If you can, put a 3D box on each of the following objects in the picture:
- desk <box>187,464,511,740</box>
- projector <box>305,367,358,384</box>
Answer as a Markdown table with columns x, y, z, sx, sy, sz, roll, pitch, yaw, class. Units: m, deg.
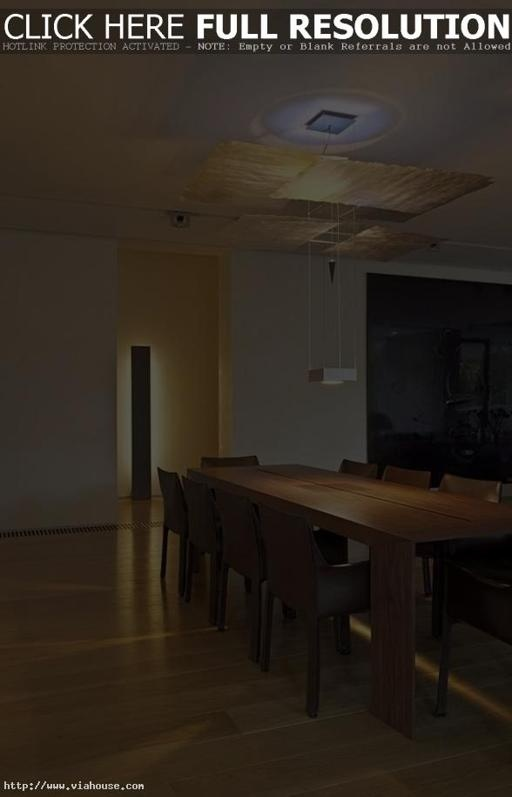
| x | y | z | sx | sy | sz | roll | pitch | yaw | class |
| --- | --- | --- | --- | --- | --- | --- | --- | --- | --- |
| 0.534 | 0.817 | 3.031 | 0.888 | 0.669 | 1.930 | 1 | -2 | -23 | desk |
| 0.554 | -0.183 | 4.392 | 0.255 | 0.114 | 0.337 | 1 | -2 | -25 | projector |
